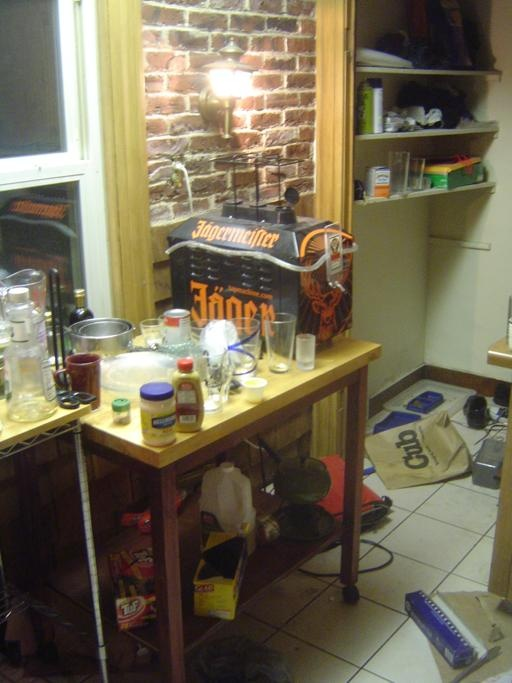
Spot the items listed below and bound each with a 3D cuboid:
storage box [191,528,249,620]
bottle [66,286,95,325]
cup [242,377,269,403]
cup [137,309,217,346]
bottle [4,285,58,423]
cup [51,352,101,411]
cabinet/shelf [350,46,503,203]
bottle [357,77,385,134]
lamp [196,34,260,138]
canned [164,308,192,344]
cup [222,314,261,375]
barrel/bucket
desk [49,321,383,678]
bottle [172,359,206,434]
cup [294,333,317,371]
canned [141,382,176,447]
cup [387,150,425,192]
[{"bbox_3d":[-0.097,0.594,1.519,0.119,0.097,0.212,3,19,1],"label":"storage box"},{"bbox_3d":[-0.503,-0.105,1.638,0.065,0.106,0.291,-6,12,-18],"label":"bottle"},{"bbox_3d":[-0.001,0.122,1.450,0.059,0.041,0.057,-1,30,0],"label":"cup"},{"bbox_3d":[-0.232,-0.035,1.607,0.152,0.097,0.157,-16,8,2],"label":"cup"},{"bbox_3d":[-0.443,0.023,1.127,0.098,0.248,0.106,-2,12,0],"label":"bottle"},{"bbox_3d":[-0.397,0.089,1.289,0.108,0.103,0.066,-12,24,-37],"label":"cup"},{"bbox_3d":[0.889,-1.131,3.089,0.412,0.743,1.311,8,15,38],"label":"cabinet/shelf"},{"bbox_3d":[0.536,-1.098,2.721,0.137,0.249,0.079,-3,12,-6],"label":"bottle"},{"bbox_3d":[-0.104,-0.844,1.980,0.196,0.291,0.179,-5,17,-6],"label":"lamp"},{"bbox_3d":[-0.215,-0.045,1.637,0.100,0.098,0.079,3,21,3],"label":"canned"},{"bbox_3d":[-0.046,-0.019,1.613,0.108,0.147,0.096,-1,-11,-13],"label":"cup"},{"bbox_3d":[-0.081,0.517,1.794,0.183,0.285,0.167,-1,15,0],"label":"barrel/bucket"},{"bbox_3d":[-0.120,0.461,1.606,0.374,0.738,0.832,16,29,35],"label":"desk"},{"bbox_3d":[-0.140,0.113,1.229,0.050,0.157,0.091,4,13,26],"label":"bottle"},{"bbox_3d":[0.139,0.029,1.639,0.063,0.101,0.066,-1,25,1],"label":"cup"},{"bbox_3d":[-0.197,0.145,1.173,0.074,0.112,0.072,3,16,12],"label":"canned"},{"bbox_3d":[0.810,-0.887,3.108,0.140,0.213,0.454,4,13,25],"label":"cup"}]
